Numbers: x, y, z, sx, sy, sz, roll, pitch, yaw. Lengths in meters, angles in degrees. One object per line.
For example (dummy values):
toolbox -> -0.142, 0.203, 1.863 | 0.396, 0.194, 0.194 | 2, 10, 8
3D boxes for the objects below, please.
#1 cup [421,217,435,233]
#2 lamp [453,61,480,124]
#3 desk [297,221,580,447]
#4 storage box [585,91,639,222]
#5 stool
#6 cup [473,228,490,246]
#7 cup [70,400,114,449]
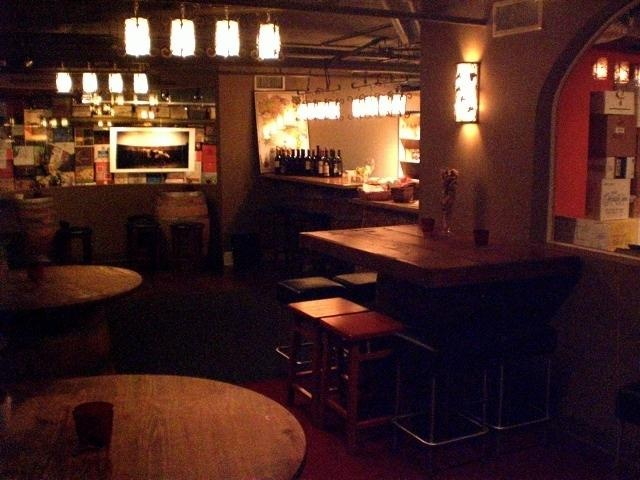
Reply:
cup -> 0.841, -0.114, 4.356 | 0.114, 0.093, 0.108 | -1, 3, 0
lamp -> 1.155, -1.148, 4.407 | 0.089, 0.464, 0.226 | -4, 14, -35
desk -> 0.780, 0.612, 3.965 | 1.068, 1.269, 1.499 | -5, 15, -40
storage box -> 1.861, -0.542, 3.602 | 0.291, 0.822, 0.224 | 6, 11, 10
stool -> 0.765, 0.718, 3.826 | 1.245, 0.583, 1.250 | 0, 3, -27
cup -> 1.117, -0.026, 3.967 | 0.110, 0.128, 0.111 | 0, -2, 0
cup -> -0.814, 0.663, 2.071 | 0.161, 0.160, 0.154 | 1, 4, 0
